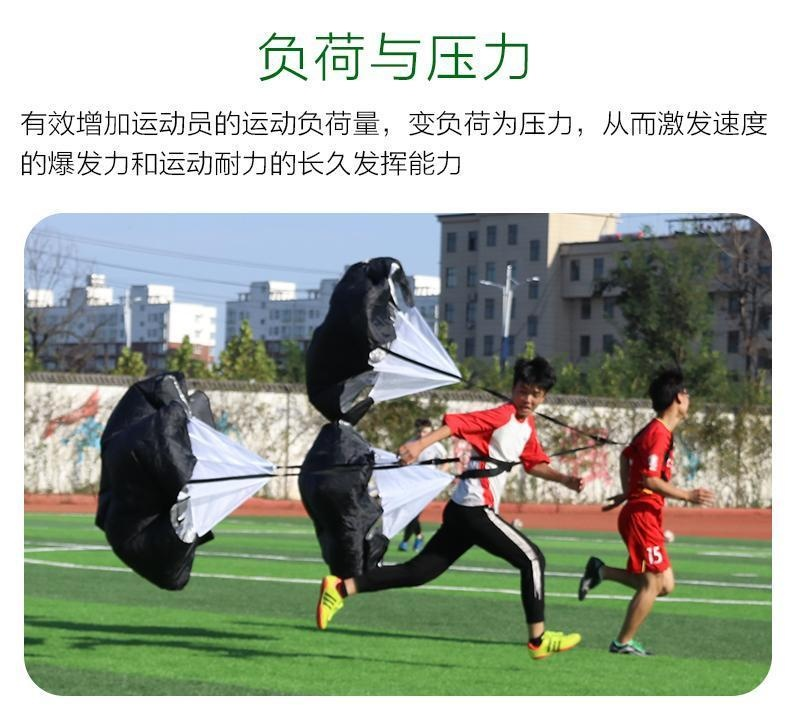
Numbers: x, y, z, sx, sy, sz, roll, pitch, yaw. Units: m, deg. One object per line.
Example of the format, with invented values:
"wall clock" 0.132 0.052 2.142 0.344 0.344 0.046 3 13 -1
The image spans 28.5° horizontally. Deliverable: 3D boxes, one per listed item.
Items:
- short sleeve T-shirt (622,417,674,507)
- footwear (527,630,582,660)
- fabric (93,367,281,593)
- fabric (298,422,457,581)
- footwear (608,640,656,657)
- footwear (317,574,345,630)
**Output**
"short sleeve T-shirt" 2.738 1.130 16.833 0.356 1.042 0.987 9 7 0
"footwear" 1.624 3.030 16.320 0.613 0.317 0.242 -14 1 -19
"fabric" -2.228 1.411 16.876 1.498 2.352 1.758 -2 -7 9
"fabric" -0.230 1.434 17.082 1.633 1.698 1.077 2 21 -25
"footwear" 2.517 3.158 16.600 0.465 0.241 0.172 4 6 -6
"footwear" -0.674 2.553 16.297 0.264 0.712 0.233 7 -10 1
